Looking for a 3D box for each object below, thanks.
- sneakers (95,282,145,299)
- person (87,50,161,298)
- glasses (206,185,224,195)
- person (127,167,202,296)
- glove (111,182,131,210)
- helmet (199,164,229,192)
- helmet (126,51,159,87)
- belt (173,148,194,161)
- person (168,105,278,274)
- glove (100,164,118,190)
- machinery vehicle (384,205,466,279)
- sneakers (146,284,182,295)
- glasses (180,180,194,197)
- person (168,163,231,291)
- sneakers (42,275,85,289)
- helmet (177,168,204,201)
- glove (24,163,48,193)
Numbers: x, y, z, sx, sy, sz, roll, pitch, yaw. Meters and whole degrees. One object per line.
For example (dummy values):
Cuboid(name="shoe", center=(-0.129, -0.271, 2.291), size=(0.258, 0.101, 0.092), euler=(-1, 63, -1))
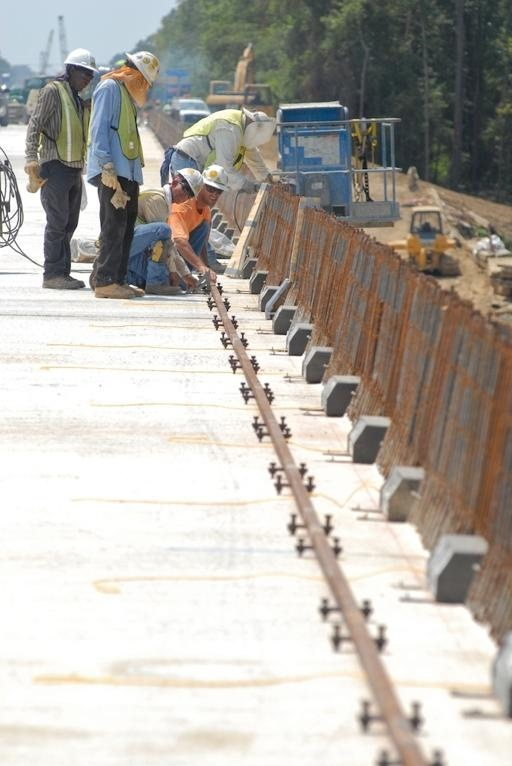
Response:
Cuboid(name="sneakers", center=(-0.944, -0.624, 8.797), size=(0.312, 0.147, 0.109), euler=(-4, 14, -13))
Cuboid(name="person", center=(-0.924, -1.362, 8.527), size=(0.539, 1.671, 0.460), euler=(-6, 13, -35))
Cuboid(name="glasses", center=(-0.301, -1.364, 9.030), size=(0.061, 0.024, 0.067), euler=(9, 33, -22))
Cuboid(name="person", center=(-0.715, -1.145, 9.349), size=(0.582, 0.922, 0.712), euler=(11, 7, 9))
Cuboid(name="glove", center=(-0.906, -1.228, 8.347), size=(0.049, 0.262, 0.173), euler=(2, 5, 31))
Cuboid(name="helmet", center=(-0.306, -1.465, 9.052), size=(0.150, 0.114, 0.194), euler=(18, 21, -35))
Cuboid(name="helmet", center=(-0.772, -2.109, 8.425), size=(0.112, 0.236, 0.177), euler=(-28, -3, 17))
Cuboid(name="belt", center=(-0.603, -1.880, 10.451), size=(0.144, 0.094, 0.101), euler=(1, 11, -5))
Cuboid(name="person", center=(-0.388, -1.697, 10.699), size=(0.921, 1.284, 0.557), euler=(17, 13, -7))
Cuboid(name="glove", center=(-0.962, -1.328, 8.277), size=(0.111, 0.167, 0.121), euler=(0, 11, -10))
Cuboid(name="machinery vehicle", center=(3.592, -2.812, 25.830), size=(1.033, 1.383, 1.442), euler=(6, 12, 18))
Cuboid(name="sneakers", center=(-0.681, -0.662, 9.267), size=(0.259, 0.124, 0.092), euler=(-3, 13, -5))
Cuboid(name="glasses", center=(-0.494, -1.354, 8.943), size=(0.036, 0.107, 0.073), euler=(-31, 15, 0))
Cuboid(name="person", center=(-0.398, -1.134, 9.158), size=(0.397, 0.775, 0.568), euler=(7, 25, -16))
Cuboid(name="sneakers", center=(-1.424, -0.741, 9.257), size=(0.277, 0.133, 0.116), euler=(-3, 16, -4))
Cuboid(name="helmet", center=(-0.456, -1.408, 8.912), size=(0.101, 0.193, 0.157), euler=(-29, -24, -9))
Cuboid(name="glove", center=(-1.543, -1.408, 8.696), size=(0.137, 0.199, 0.184), euler=(6, 2, 3))
